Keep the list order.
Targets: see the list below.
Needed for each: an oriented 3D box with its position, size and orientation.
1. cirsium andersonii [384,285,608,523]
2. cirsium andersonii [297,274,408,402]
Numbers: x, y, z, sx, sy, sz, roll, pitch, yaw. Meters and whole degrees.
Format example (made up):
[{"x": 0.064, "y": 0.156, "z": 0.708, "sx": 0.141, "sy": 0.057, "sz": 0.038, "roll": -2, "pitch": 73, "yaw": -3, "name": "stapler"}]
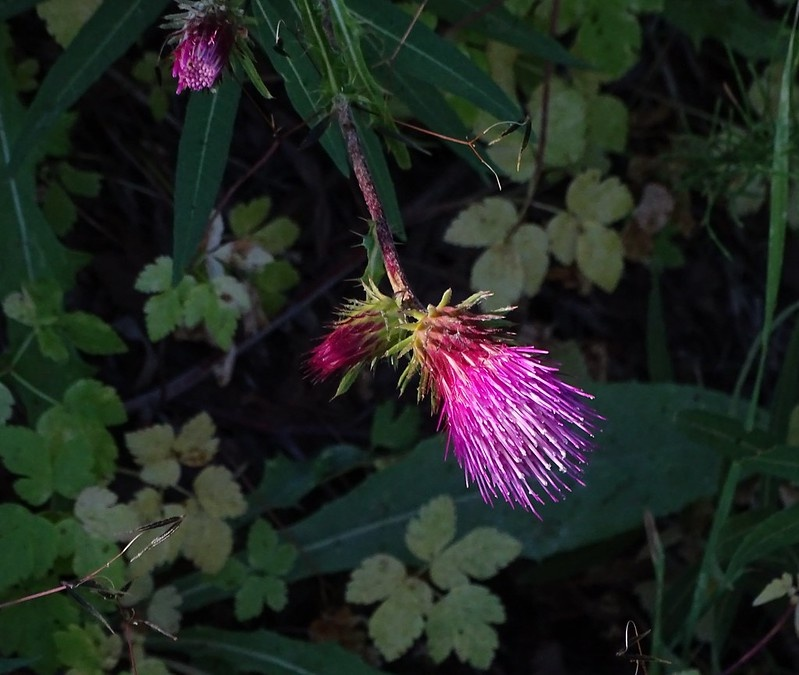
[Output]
[{"x": 0.087, "y": 0.054, "z": 0.847, "sx": 0.166, "sy": 0.242, "sz": 0.129, "roll": -38, "pitch": -1, "yaw": 5, "name": "cirsium andersonii"}, {"x": -0.051, "y": -0.002, "z": 0.784, "sx": 0.038, "sy": 0.101, "sz": 0.100, "roll": -10, "pitch": -14, "yaw": -19, "name": "cirsium andersonii"}]
